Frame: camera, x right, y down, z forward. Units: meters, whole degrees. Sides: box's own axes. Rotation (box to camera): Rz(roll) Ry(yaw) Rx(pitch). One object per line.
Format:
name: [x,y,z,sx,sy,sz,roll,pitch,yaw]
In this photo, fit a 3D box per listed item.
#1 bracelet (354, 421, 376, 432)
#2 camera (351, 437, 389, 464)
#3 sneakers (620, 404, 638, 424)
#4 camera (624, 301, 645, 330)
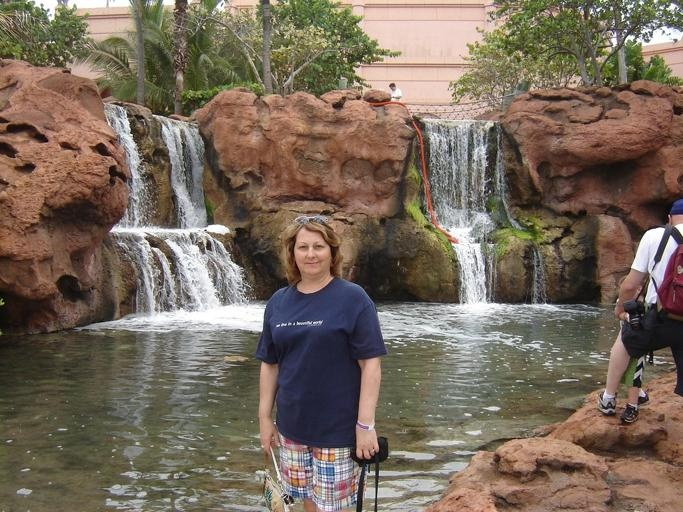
bracelet: [0.204,1.461,6.715,0.155,0.110,0.080,1,11,-4]
camera: [0.263,1.699,6.751,0.346,0.276,0.156,-5,13,-27]
sneakers: [3.018,1.659,8.184,0.102,0.124,0.284,-4,3,37]
camera: [3.082,0.621,8.188,0.282,0.343,0.246,-2,-10,13]
